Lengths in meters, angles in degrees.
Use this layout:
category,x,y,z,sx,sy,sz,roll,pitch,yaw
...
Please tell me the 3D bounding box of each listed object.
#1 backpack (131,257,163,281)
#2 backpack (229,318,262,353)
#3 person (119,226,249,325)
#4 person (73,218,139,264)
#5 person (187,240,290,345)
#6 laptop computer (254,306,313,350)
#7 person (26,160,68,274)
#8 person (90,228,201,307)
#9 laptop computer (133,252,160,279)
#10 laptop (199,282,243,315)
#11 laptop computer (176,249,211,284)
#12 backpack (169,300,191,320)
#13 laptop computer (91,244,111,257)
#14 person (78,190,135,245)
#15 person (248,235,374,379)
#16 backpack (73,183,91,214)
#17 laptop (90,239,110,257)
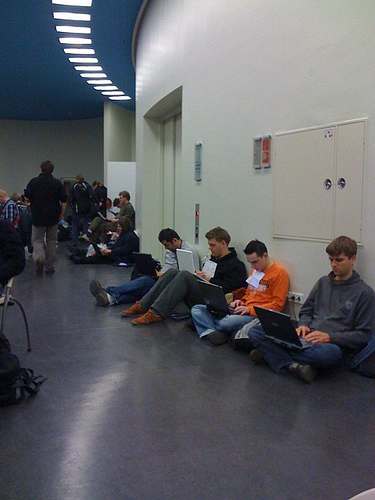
category,x,y,z,sx,sy,sz,roll,pitch,yaw
backpack,-0.591,0.273,5.539,0.446,0.321,0.300,3,8,36
backpack,0.475,0.731,3.185,0.215,0.111,0.289,-8,11,-22
person,-0.018,0.254,4.076,1.322,0.912,0.660,-6,9,-26
person,-1.835,-0.203,8.328,1.510,1.048,0.702,2,6,-11
person,0.476,0.392,3.504,0.862,0.873,0.726,-1,5,-13
laptop computer,0.693,0.532,2.736,0.408,0.273,0.364,-4,8,44
person,-2.595,-0.604,6.926,0.664,2.059,0.424,1,1,-27
person,-0.527,0.219,5.009,1.469,0.859,0.622,-11,8,-31
laptop computer,-0.543,0.189,5.154,0.407,0.381,0.320,6,15,41
laptop,0.336,0.424,3.423,0.288,0.274,0.331,-12,8,-30
laptop computer,0.082,0.184,4.390,0.312,0.294,0.423,-7,12,-31
backpack,-0.093,0.724,4.424,0.201,0.050,0.215,-28,26,-11
laptop computer,-1.906,0.037,8.338,0.200,0.162,0.502,-13,29,-20
person,-1.921,-0.747,9.640,1.288,1.357,0.633,-6,-3,5
person,0.966,0.374,3.060,0.965,1.091,0.881,0,4,-23
backpack,-2.933,-1.460,10.590,0.555,0.795,0.486,-15,14,-42
laptop,-2.005,-0.073,8.513,0.240,0.201,0.604,-15,53,-8
